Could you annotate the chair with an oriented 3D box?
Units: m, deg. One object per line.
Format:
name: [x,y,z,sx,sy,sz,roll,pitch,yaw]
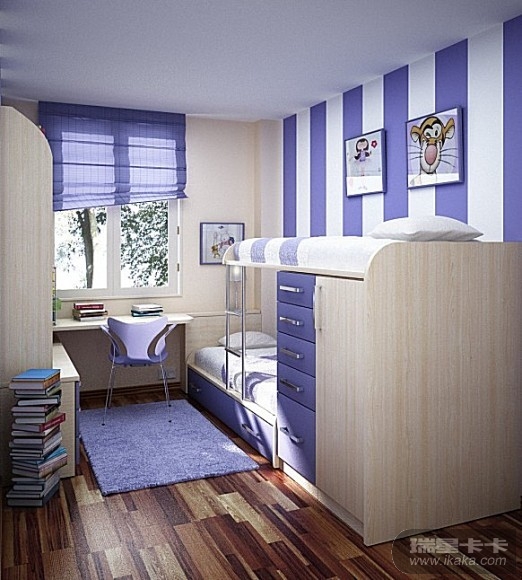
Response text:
chair: [-0.942,0.532,3.763,0.529,0.757,0.475,-1,12,-15]

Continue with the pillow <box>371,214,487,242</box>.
pillow: [0.745,-0.276,2.211,0.482,0.114,0.315,0,2,15]

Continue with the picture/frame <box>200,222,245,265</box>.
picture/frame: [-0.363,-0.406,4.261,0.439,0.449,0.042,0,1,-34]

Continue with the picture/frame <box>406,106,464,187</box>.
picture/frame: [0.975,-0.789,2.736,0.023,0.412,0.394,-1,2,-26]

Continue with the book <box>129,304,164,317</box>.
book: [-1.007,0.180,4.168,0.290,0.093,0.191,0,2,5]
